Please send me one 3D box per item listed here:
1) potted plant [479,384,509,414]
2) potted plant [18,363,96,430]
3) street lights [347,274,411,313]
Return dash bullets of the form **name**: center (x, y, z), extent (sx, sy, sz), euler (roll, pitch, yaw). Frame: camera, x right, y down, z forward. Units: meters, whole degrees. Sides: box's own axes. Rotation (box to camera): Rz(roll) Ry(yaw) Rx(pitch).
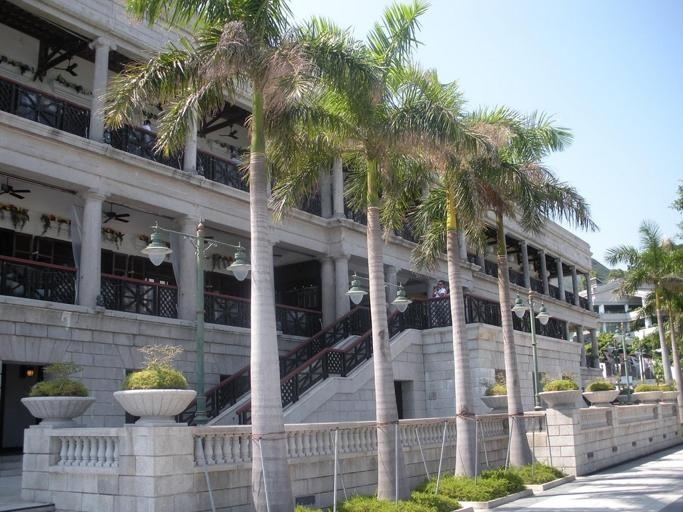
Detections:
- **potted plant**: center (5.764, 5.399, 26.928), extent (0.954, 0.929, 1.073), euler (-1, 2, -3)
- **potted plant**: center (-6.967, 3.426, 17.652), extent (1.414, 1.673, 1.974), euler (4, -19, -18)
- **street lights**: center (1.346, 1.462, 27.268), extent (1.730, 0.943, 0.667), euler (15, -37, -11)
